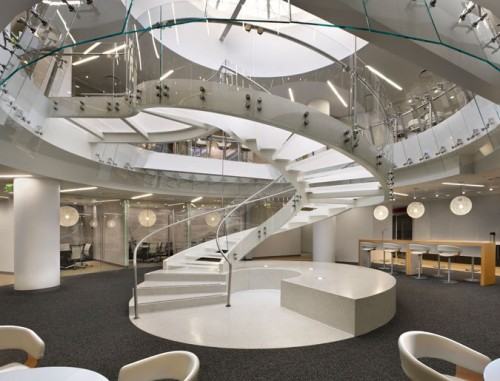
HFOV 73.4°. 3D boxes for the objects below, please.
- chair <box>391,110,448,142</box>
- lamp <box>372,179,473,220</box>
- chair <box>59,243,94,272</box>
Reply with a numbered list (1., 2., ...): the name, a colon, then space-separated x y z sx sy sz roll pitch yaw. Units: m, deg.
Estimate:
1. chair: 5.147 -1.990 10.294 1.277 0.914 1.320 -1 -2 23
2. lamp: 5.842 0.388 11.481 2.957 1.139 1.840 -2 -3 40
3. chair: -6.155 2.246 11.864 0.874 1.142 0.814 3 -6 -38
